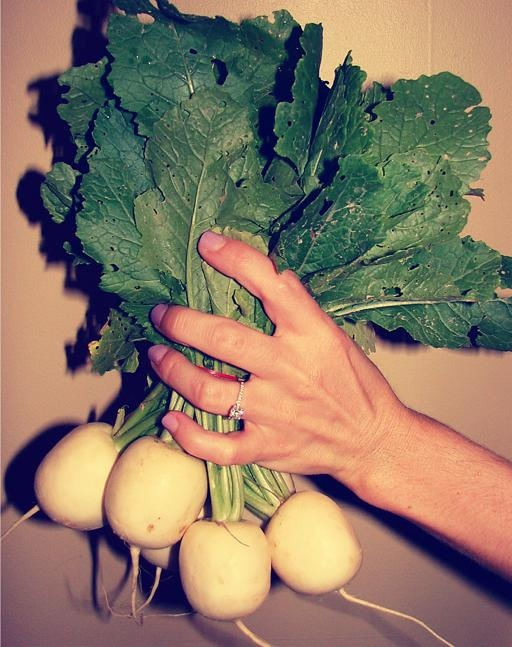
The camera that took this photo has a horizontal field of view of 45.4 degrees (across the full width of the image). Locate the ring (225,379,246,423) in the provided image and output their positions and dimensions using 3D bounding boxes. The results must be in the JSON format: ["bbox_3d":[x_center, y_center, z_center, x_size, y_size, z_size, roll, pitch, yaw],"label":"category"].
[{"bbox_3d":[-0.027,0.118,0.959,0.022,0.053,0.030,7,-8,8],"label":"ring"}]
